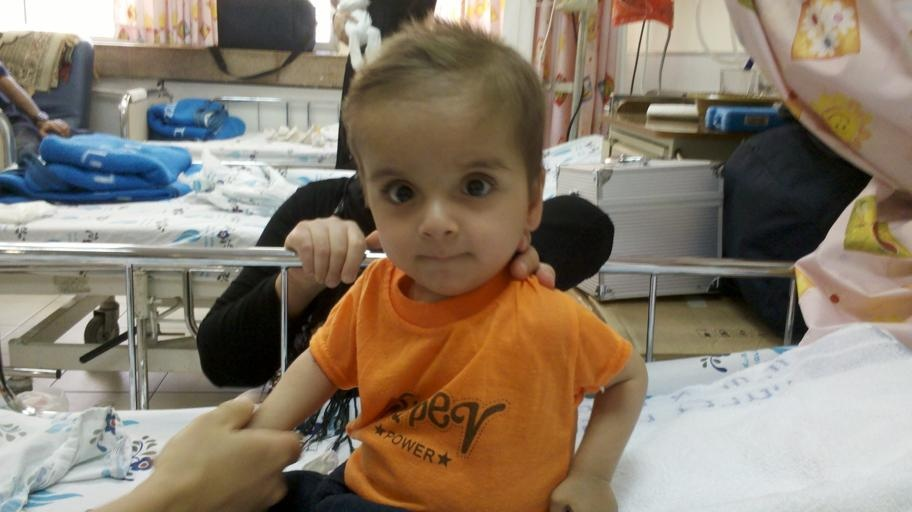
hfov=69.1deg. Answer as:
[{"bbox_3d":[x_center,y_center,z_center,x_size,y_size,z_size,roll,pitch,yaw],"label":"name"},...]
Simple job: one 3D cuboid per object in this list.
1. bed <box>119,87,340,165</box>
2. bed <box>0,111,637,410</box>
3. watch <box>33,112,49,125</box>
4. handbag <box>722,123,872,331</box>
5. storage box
[{"bbox_3d":[-1.504,-0.870,4.719,1.305,0.443,0.911,5,18,8],"label":"bed"},{"bbox_3d":[-0.320,0.031,1.918,1.485,0.381,0.855,-2,17,-1],"label":"bed"},{"bbox_3d":[-2.806,-0.935,4.491,0.098,0.065,0.103,-18,6,24],"label":"watch"},{"bbox_3d":[1.125,-0.086,2.149,0.288,0.534,0.501,6,46,2],"label":"handbag"},{"bbox_3d":[0.898,-0.158,2.638,0.593,0.385,0.576,-10,10,-20],"label":"storage box"}]
